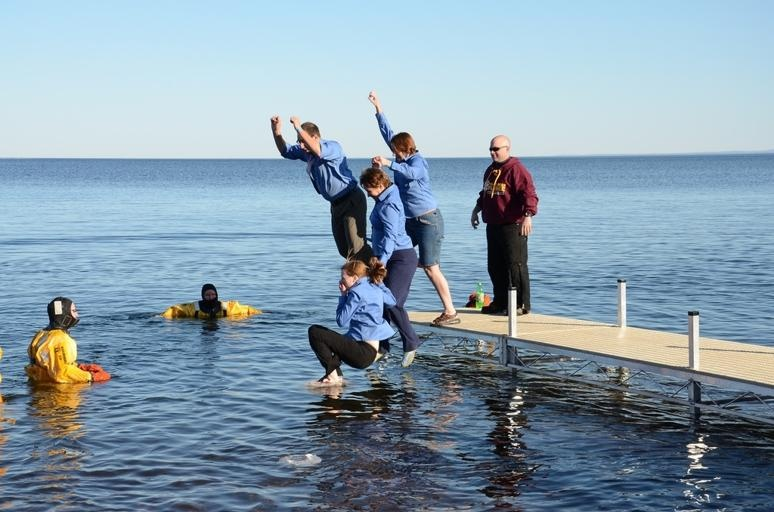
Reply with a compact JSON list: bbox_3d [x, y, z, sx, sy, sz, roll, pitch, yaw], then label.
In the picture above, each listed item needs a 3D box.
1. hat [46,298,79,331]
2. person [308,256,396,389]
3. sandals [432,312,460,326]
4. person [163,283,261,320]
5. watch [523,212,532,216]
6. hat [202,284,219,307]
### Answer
[{"bbox_3d":[-6.157,1.091,21.728,0.496,0.647,0.344,-3,10,-13],"label":"hat"},{"bbox_3d":[-0.645,1.284,21.476,1.557,2.415,0.517,-1,10,-1],"label":"person"},{"bbox_3d":[1.157,1.262,22.821,0.651,0.208,0.205,-2,-2,0],"label":"sandals"},{"bbox_3d":[-4.248,1.156,27.270,2.551,0.613,0.546,1,-17,-30],"label":"person"},{"bbox_3d":[2.689,-0.784,22.016,0.106,0.052,0.087,2,7,1],"label":"watch"},{"bbox_3d":[-4.223,0.952,27.288,0.717,0.474,0.384,0,-3,-12],"label":"hat"}]
